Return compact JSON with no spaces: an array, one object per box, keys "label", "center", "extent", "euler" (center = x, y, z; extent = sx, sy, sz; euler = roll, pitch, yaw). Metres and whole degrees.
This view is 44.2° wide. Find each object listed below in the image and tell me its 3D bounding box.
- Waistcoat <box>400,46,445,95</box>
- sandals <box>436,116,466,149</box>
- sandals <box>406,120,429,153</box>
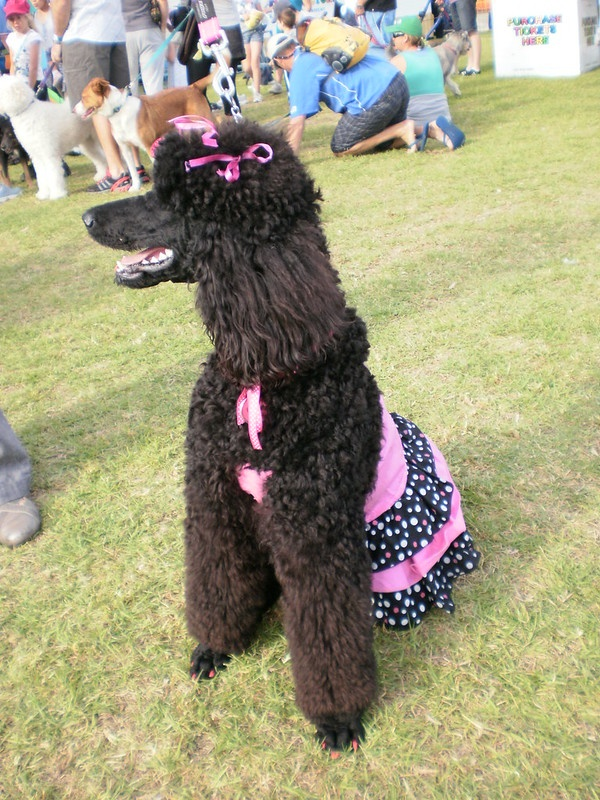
[{"label":"Waistcoat","center":[1.182,-3.154,7.120],"extent":[0.448,0.458,0.486],"euler":[-7,30,4]},{"label":"sandals","center":[1.347,-2.394,6.616],"extent":[0.188,0.335,0.140],"euler":[-21,-15,-38]},{"label":"sandals","center":[1.113,-2.450,6.913],"extent":[0.159,0.150,0.427],"euler":[-5,28,1]}]
